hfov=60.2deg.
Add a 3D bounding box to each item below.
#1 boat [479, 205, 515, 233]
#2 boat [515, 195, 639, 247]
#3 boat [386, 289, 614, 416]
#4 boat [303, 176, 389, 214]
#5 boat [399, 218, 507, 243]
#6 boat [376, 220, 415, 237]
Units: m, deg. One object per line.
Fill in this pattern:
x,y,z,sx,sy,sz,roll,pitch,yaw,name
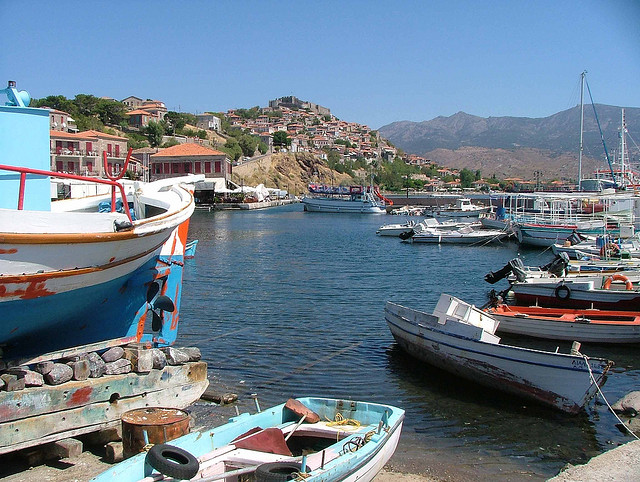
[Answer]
16.632,-1.862,51.166,1.536,1.595,4.725,1,-5,4,boat
18.670,-1.190,38.636,7.677,2.453,4.224,-1,3,11,boat
4.166,2.555,13.503,1.927,1.610,5.665,18,-2,-39,boat
4.085,-7.676,93.187,15.721,6.217,5.208,5,5,29,boat
11.803,-0.878,48.006,7.012,1.445,2.598,2,9,10,boat
6.614,-0.839,49.990,4.014,1.350,2.182,1,4,11,boat
